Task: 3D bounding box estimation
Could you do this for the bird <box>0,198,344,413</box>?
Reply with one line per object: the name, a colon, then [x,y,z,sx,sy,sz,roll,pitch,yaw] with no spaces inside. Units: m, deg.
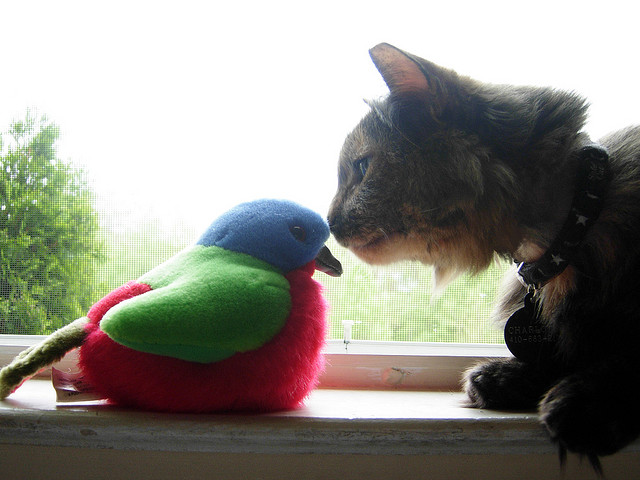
bird: [-0.218,0.142,1.400,0.691,0.367,0.368,1,-9,-8]
